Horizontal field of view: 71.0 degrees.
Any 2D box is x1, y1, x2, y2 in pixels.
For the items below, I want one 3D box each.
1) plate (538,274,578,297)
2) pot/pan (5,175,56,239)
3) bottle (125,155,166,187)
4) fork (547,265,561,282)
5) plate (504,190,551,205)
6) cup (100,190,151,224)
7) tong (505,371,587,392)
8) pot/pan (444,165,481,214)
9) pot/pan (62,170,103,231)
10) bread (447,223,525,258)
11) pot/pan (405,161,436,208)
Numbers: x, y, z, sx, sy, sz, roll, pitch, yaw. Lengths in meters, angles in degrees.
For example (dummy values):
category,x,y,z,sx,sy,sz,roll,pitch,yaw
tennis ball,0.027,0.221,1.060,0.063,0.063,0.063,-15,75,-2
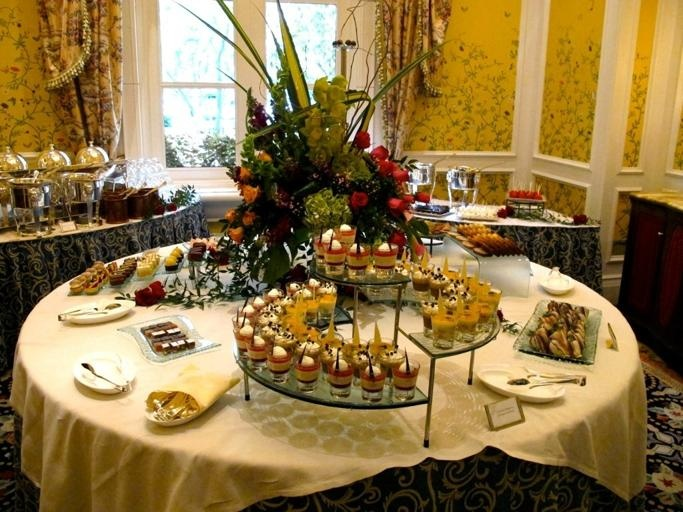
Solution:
category,x,y,z,sx,sy,sz,roll,pitch,yaw
plate,1.130,0.127,2.503,0.130,0.039,0.128,-17,28,-23
pot/pan,-2.120,-0.354,3.318,0.287,0.388,0.443,-15,21,-33
bottle,-1.721,-0.721,4.262,0.091,0.351,0.363,-10,3,45
fork,1.222,0.100,2.754,0.055,0.060,0.055,-4,18,-2
plate,1.725,-0.541,4.402,0.238,0.087,0.256,1,12,5
cup,-1.684,-0.397,3.789,0.229,0.203,0.419,17,18,43
tong,0.728,0.443,1.701,0.273,0.035,0.097,-4,14,-4
pot/pan,1.021,-0.572,3.976,0.296,0.412,0.306,8,24,22
pot/pan,-1.949,-0.428,3.631,0.300,0.387,0.289,4,20,1
bread,0.757,-0.087,2.595,0.182,0.060,0.384,-1,17,-6
pot/pan,0.654,-0.590,3.734,0.221,0.341,0.219,13,32,14
